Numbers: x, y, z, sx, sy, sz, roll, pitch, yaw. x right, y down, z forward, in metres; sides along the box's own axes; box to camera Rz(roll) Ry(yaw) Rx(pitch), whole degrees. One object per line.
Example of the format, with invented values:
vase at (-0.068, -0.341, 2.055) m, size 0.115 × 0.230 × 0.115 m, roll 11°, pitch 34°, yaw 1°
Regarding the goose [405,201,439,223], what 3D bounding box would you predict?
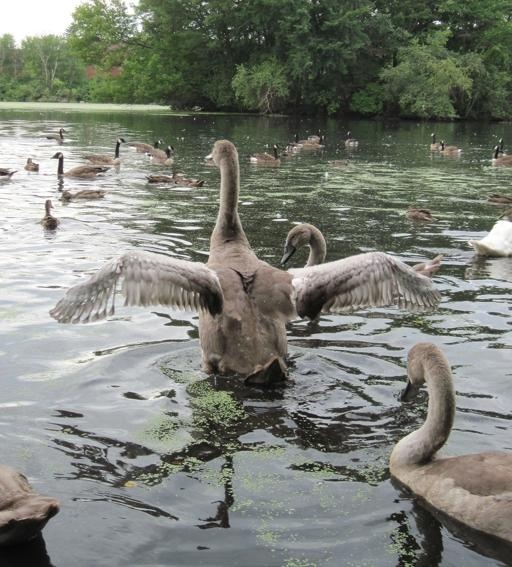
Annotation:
goose at (3.444, -1.475, 16.570) m, size 0.313 × 0.462 × 0.795 m, roll 21°, pitch 25°, yaw -12°
